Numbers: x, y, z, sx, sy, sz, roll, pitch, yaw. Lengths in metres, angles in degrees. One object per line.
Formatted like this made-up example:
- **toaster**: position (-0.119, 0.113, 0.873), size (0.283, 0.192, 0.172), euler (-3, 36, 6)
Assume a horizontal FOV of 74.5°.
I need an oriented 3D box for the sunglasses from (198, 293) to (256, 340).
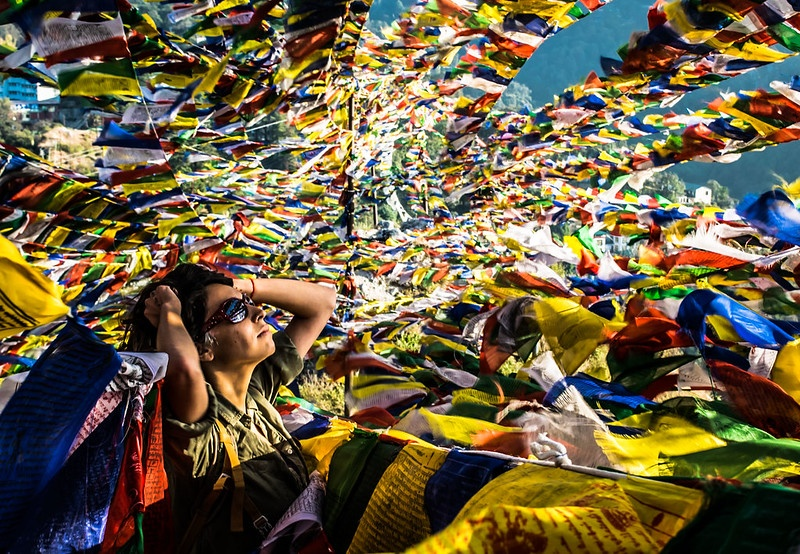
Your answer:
- **sunglasses**: position (-0.717, 0.165, 2.207), size (0.192, 0.059, 0.172), euler (-25, 1, 9)
